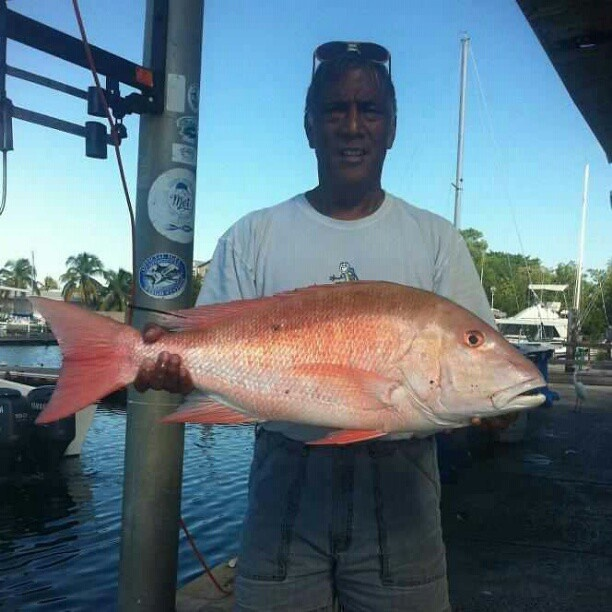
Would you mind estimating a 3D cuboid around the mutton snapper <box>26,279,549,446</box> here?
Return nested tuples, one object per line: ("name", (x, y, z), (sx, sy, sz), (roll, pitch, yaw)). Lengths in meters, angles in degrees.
("mutton snapper", (0.050, 0.180, 2.914), (2.118, 0.924, 0.774), (1, -2, 2))
